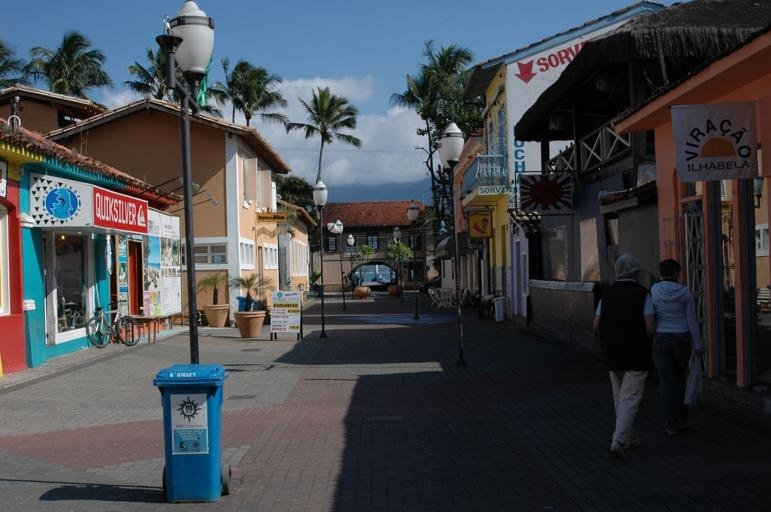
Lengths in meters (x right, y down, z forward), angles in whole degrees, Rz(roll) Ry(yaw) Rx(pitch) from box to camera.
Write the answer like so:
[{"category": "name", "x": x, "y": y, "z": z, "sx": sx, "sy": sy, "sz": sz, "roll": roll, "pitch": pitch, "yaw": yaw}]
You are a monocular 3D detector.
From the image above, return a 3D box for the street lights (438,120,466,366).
[{"category": "street lights", "x": 1.630, "y": -0.226, "z": 16.980, "sx": 0.732, "sy": 5.729, "sz": 0.750, "roll": -2, "pitch": 7, "yaw": 13}]

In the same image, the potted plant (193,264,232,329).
[{"category": "potted plant", "x": -6.126, "y": 1.565, "z": 26.702, "sx": 1.783, "sy": 2.258, "sz": 1.646, "roll": -1, "pitch": -9, "yaw": -14}]

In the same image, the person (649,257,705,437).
[{"category": "person", "x": 4.059, "y": 1.285, "z": 10.443, "sx": 0.610, "sy": 2.429, "sz": 1.097, "roll": -4, "pitch": -2, "yaw": 23}]

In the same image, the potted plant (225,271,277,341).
[{"category": "potted plant", "x": -4.239, "y": 1.537, "z": 23.747, "sx": 1.516, "sy": 2.014, "sz": 1.453, "roll": 0, "pitch": -9, "yaw": -26}]

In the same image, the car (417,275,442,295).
[{"category": "car", "x": 3.221, "y": 2.170, "z": 54.364, "sx": 1.736, "sy": 0.930, "sz": 1.006, "roll": 1, "pitch": -3, "yaw": -8}]

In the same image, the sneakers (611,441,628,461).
[{"category": "sneakers", "x": 3.122, "y": 2.570, "z": 10.012, "sx": 0.220, "sy": 0.235, "sz": 0.332, "roll": -4, "pitch": -2, "yaw": 16}]

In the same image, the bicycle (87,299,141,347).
[{"category": "bicycle", "x": -7.128, "y": 1.812, "z": 19.454, "sx": 1.805, "sy": 1.121, "sz": 0.693, "roll": -3, "pitch": 4, "yaw": 24}]
